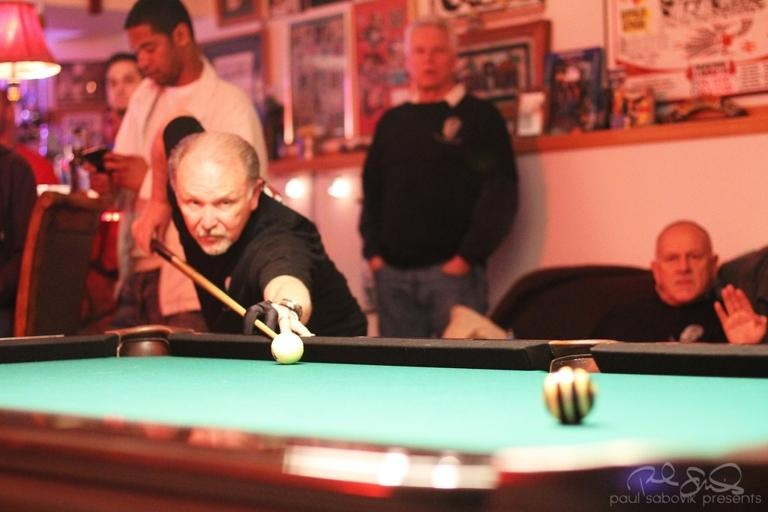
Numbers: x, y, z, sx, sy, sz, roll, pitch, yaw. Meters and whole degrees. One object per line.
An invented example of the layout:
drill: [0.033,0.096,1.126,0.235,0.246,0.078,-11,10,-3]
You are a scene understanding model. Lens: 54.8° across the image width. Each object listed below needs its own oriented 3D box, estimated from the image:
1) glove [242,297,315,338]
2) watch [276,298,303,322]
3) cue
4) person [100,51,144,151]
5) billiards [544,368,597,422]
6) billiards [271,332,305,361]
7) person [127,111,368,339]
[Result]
glove: [-0.393,0.241,2.942,0.265,0.139,0.278,7,7,23]
watch: [-0.410,0.219,3.129,0.103,0.095,0.093,10,39,23]
cue: [-0.932,0.189,3.988,0.060,0.077,1.297,-10,31,-44]
person: [-2.122,-1.203,5.777,0.399,0.791,0.382,-14,31,-32]
billiards: [0.447,0.335,1.777,0.110,0.117,0.094,-16,16,-37]
billiards: [-0.357,0.337,2.745,0.118,0.109,0.106,7,60,-6]
person: [-0.814,-0.218,4.750,0.442,1.324,1.352,-38,33,-19]
